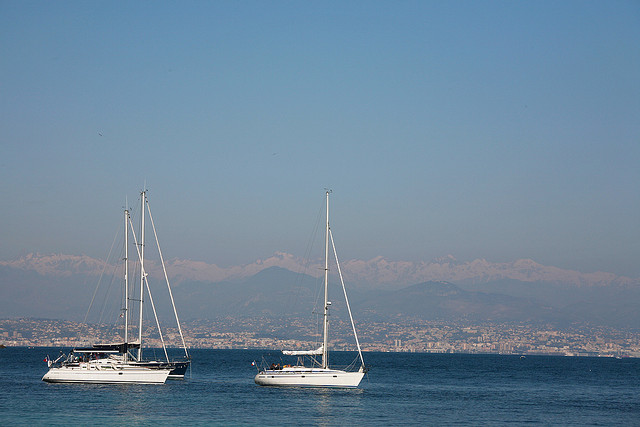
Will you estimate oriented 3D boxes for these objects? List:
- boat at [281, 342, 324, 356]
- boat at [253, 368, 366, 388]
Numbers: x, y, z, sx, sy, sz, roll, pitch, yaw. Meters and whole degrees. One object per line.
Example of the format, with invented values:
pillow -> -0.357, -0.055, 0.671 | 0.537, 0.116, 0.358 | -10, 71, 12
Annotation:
boat -> -4.184, 39.094, 391.518 | 10.988, 4.065, 5.965 | -5, -16, 21
boat -> -3.553, 47.272, 390.638 | 28.397, 5.395, 4.039 | -1, -15, 7
